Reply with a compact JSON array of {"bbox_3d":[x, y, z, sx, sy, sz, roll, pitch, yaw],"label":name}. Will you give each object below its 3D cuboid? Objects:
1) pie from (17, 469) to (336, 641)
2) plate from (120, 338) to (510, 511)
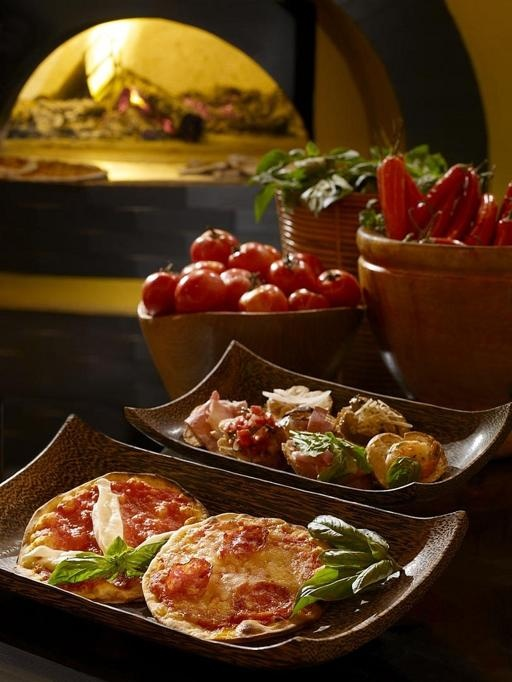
[{"bbox_3d":[-0.064,0.145,0.453,0.237,0.037,0.144,7,14,35],"label":"pie"},{"bbox_3d":[0.058,0.078,0.650,0.330,0.065,0.173,10,18,27],"label":"plate"}]
